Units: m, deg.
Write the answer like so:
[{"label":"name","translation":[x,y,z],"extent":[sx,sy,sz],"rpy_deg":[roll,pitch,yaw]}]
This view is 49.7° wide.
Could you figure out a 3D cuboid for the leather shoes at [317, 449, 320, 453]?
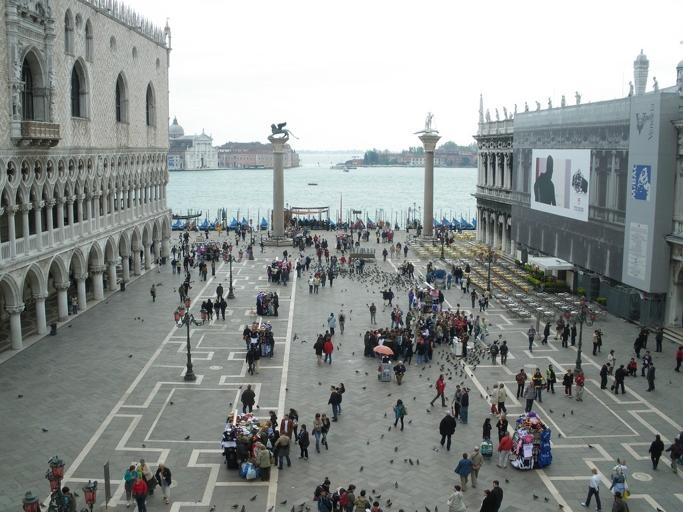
[{"label":"leather shoes","translation":[-1.096,9.182,34.947],"extent":[0.075,0.112,0.247],"rpy_deg":[3,16,-2]}]

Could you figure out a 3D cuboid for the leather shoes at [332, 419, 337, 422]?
[{"label":"leather shoes","translation":[-0.345,8.343,37.794],"extent":[0.280,0.088,0.257],"rpy_deg":[-2,8,-3]}]

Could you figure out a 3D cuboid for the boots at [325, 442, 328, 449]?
[{"label":"boots","translation":[-0.690,8.988,35.327],"extent":[0.180,0.251,0.538],"rpy_deg":[-2,8,-5]}]

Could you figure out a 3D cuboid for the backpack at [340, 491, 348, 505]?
[{"label":"backpack","translation":[0.091,9.691,29.625],"extent":[0.296,0.556,0.237],"rpy_deg":[-2,8,-10]}]

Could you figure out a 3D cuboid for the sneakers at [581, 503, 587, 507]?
[{"label":"sneakers","translation":[10.268,10.440,31.209],"extent":[0.239,0.097,0.237],"rpy_deg":[0,8,8]}]

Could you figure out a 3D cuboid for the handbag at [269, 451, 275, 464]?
[{"label":"handbag","translation":[-3.171,9.227,34.084],"extent":[0.224,0.520,0.722],"rpy_deg":[-2,8,-8]}]

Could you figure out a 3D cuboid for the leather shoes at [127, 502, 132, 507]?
[{"label":"leather shoes","translation":[-8.925,10.349,30.928],"extent":[0.099,0.108,0.248],"rpy_deg":[1,-4,-8]}]

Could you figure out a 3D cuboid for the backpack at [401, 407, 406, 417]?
[{"label":"backpack","translation":[3.124,7.761,37.008],"extent":[0.267,0.570,0.376],"rpy_deg":[-1,10,0]}]
